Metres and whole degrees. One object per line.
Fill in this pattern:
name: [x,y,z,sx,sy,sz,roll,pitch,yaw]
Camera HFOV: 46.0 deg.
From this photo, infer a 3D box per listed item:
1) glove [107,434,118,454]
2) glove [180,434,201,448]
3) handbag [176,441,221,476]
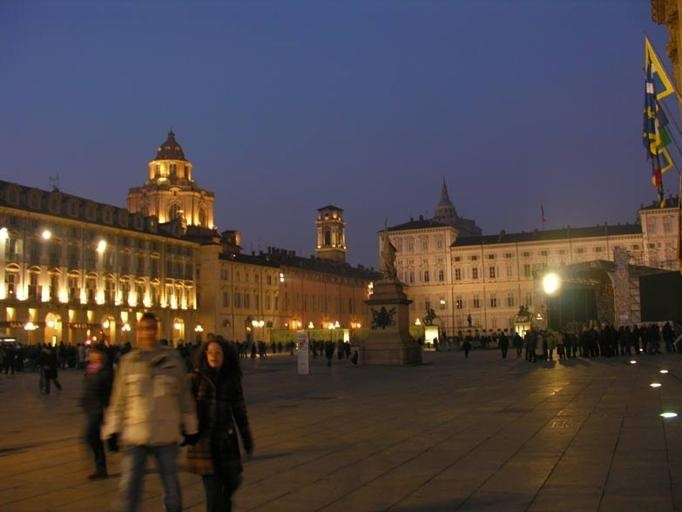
glove: [-2.858,2.341,9.988,0.078,0.303,0.300,5,2,-8]
glove: [-1.882,2.233,9.796,0.291,0.136,0.161,-13,-13,40]
handbag: [-1.731,2.411,9.964,0.415,0.444,0.432,2,0,19]
